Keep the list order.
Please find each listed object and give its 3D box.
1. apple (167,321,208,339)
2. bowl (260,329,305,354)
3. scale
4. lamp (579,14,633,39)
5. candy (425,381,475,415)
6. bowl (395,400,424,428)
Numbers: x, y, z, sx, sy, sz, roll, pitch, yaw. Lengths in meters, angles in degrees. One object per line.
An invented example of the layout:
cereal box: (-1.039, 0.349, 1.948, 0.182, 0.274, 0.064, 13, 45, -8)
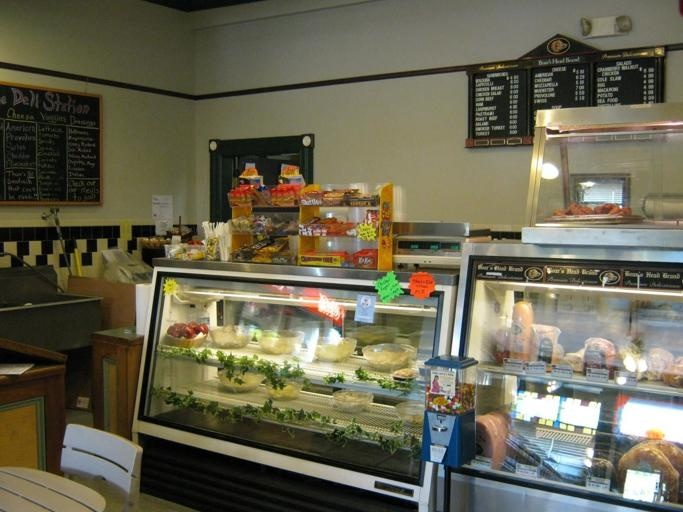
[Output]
apple: (-0.987, 0.473, 3.491, 0.162, 0.056, 0.140, -1, 1, 31)
bowl: (-0.357, 0.476, 3.164, 0.176, 0.073, 0.174, 0, -1, 0)
scale: (0.532, -0.057, 3.281, 0.436, 0.226, 0.570, 2, 0, 7)
lamp: (2.061, -1.791, 4.245, 0.319, 0.166, 0.100, -1, 7, 28)
candy: (0.464, 0.624, 2.415, 0.157, 0.095, 0.156, 0, 0, 32)
bowl: (0.357, 0.819, 2.841, 0.127, 0.064, 0.126, 0, 2, 0)
